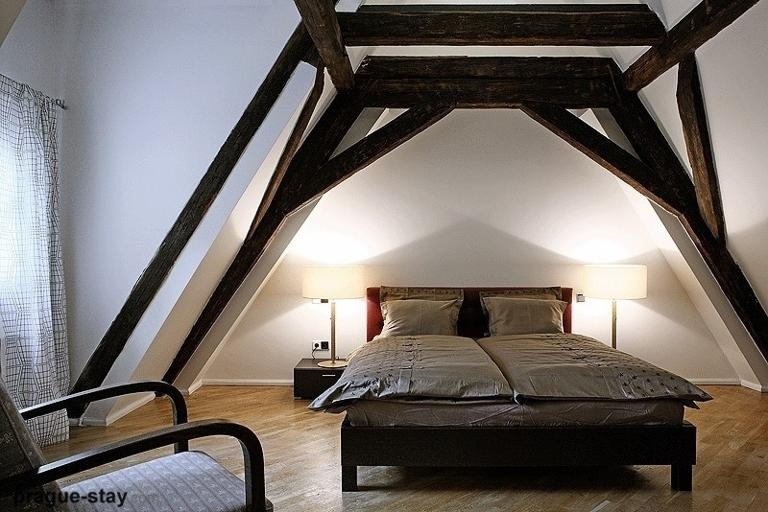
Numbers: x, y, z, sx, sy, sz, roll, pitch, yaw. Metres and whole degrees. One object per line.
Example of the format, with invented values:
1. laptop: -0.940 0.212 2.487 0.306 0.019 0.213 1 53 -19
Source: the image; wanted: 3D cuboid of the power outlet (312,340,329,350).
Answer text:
1. power outlet: -0.652 0.938 5.576 0.175 0.103 0.095 0 -4 -1
